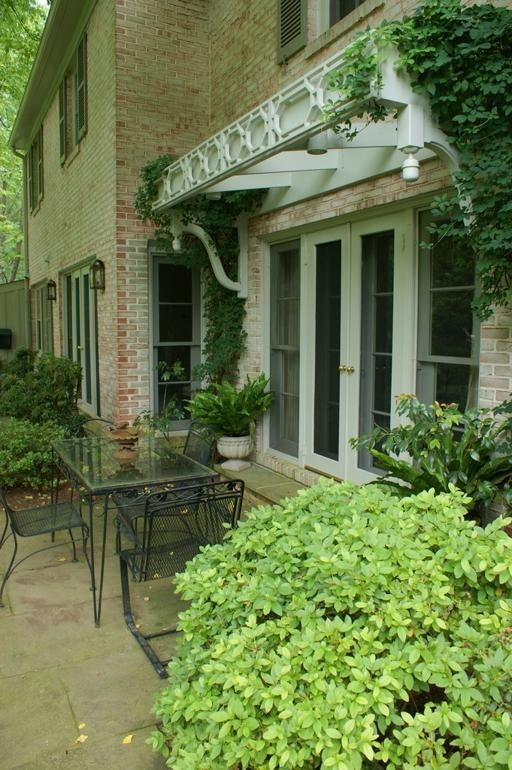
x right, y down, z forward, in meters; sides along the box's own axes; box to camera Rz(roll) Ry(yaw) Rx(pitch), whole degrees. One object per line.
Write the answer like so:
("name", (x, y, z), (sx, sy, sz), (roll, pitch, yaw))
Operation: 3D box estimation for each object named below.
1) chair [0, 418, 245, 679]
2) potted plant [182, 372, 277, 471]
("chair", (-0.703, 0.909, 3.353), (1.008, 0.553, 1.364), (0, 5, -21))
("potted plant", (-0.207, 0.327, 5.828), (0.830, 0.892, 0.816), (0, -1, 3))
